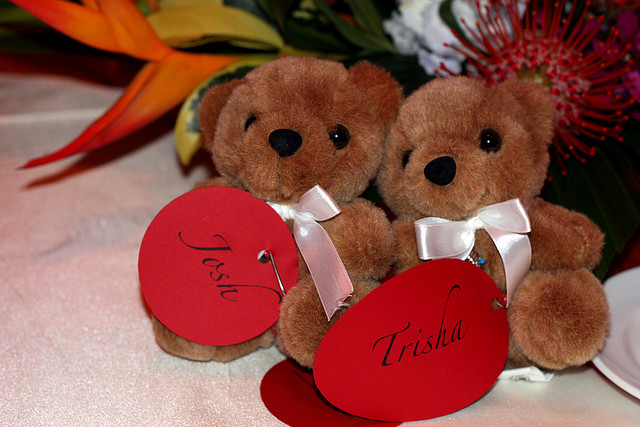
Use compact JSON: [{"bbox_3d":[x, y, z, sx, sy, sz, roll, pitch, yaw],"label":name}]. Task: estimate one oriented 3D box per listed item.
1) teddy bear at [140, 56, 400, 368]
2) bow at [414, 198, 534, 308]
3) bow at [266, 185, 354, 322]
[{"bbox_3d":[0.044,-0.010,1.338,0.569,0.718,0.540,3,11,19],"label":"teddy bear"},{"bbox_3d":[0.307,0.043,1.226,0.224,0.196,0.171,13,25,10],"label":"bow"},{"bbox_3d":[-0.018,0.080,1.130,0.143,0.106,0.237,-33,75,19],"label":"bow"}]
